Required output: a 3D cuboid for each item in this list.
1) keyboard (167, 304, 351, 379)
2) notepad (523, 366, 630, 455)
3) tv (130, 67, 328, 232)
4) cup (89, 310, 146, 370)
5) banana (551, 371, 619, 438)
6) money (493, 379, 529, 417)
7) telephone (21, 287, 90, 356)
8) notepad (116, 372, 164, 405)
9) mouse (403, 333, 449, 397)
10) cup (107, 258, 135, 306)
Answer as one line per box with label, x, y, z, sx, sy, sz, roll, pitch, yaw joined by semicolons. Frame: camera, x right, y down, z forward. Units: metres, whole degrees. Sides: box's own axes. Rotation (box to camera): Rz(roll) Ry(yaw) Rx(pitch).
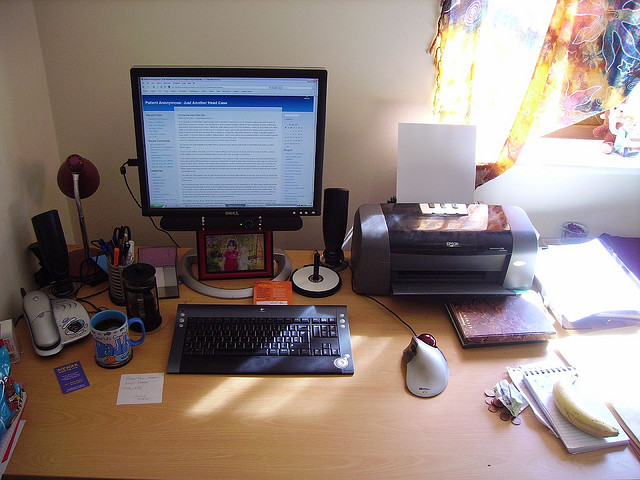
keyboard;-0.168;0.281;1.398;0.496;0.126;0.223;-1;21;0
notepad;0.642;0.433;1.271;0.230;0.050;0.253;7;35;-10
tv;-0.273;-0.282;1.453;0.550;0.471;0.073;1;29;-5
cup;-0.546;0.270;1.337;0.143;0.126;0.093;-5;29;-21
banana;0.664;0.428;1.270;0.118;0.065;0.234;-3;22;3
money;0.492;0.407;1.264;0.060;0.023;0.074;-32;62;-24
telephone;-0.764;0.215;1.399;0.228;0.065;0.169;36;43;29
notepad;-0.469;0.390;1.279;0.130;0.005;0.157;4;12;-9
mouse;0.294;0.329;1.363;0.142;0.072;0.215;-3;27;4
cup;-0.580;0.119;1.431;0.083;0.109;0.089;4;31;-3
